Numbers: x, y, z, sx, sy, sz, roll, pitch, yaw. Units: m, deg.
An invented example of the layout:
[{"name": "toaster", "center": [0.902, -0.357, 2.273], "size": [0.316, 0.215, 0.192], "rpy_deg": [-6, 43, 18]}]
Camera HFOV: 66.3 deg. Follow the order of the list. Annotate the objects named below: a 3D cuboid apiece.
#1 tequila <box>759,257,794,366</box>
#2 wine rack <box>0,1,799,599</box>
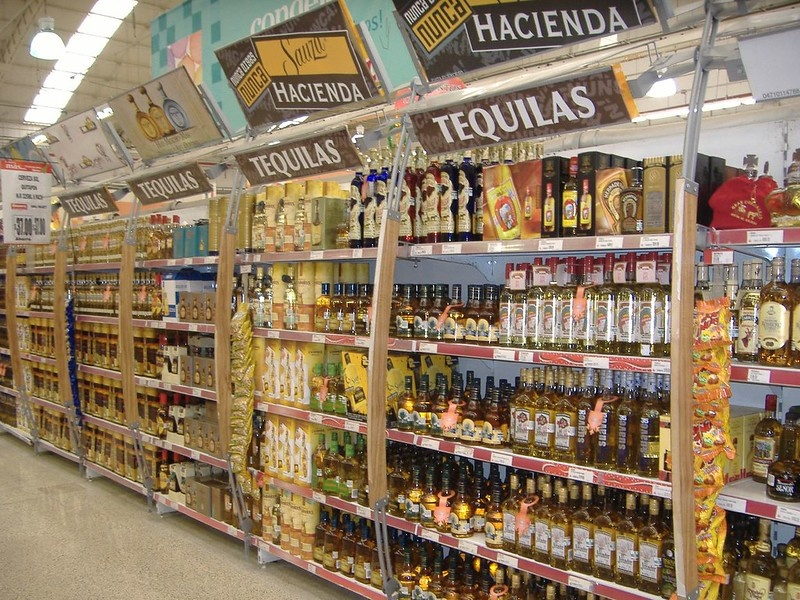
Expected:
[{"name": "tequila", "center": [1.777, 0.048, 2.895], "size": [0.142, 0.505, 0.161], "rpy_deg": [1, 2, 10]}, {"name": "wine rack", "center": [-0.171, 0.112, 4.067], "size": [5.327, 2.076, 0.951], "rpy_deg": [4, 3, 42]}]
